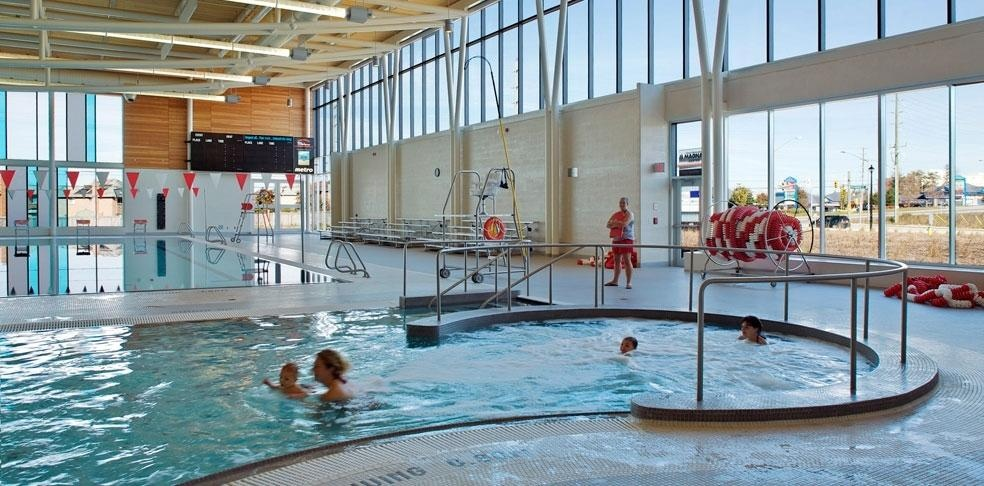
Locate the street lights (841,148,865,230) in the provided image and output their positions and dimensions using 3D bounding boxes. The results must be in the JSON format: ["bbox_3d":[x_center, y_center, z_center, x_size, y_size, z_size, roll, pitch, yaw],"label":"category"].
[{"bbox_3d":[9.393,-1.484,15.897,0.173,1.864,0.548,-7,9,-42],"label":"street lights"}]

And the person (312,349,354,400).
[{"bbox_3d":[-2.531,2.154,9.870,0.741,0.794,0.631,4,-8,1],"label":"person"}]

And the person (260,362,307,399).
[{"bbox_3d":[-3.215,2.243,9.858,1.043,0.440,0.363,4,-9,26],"label":"person"}]
